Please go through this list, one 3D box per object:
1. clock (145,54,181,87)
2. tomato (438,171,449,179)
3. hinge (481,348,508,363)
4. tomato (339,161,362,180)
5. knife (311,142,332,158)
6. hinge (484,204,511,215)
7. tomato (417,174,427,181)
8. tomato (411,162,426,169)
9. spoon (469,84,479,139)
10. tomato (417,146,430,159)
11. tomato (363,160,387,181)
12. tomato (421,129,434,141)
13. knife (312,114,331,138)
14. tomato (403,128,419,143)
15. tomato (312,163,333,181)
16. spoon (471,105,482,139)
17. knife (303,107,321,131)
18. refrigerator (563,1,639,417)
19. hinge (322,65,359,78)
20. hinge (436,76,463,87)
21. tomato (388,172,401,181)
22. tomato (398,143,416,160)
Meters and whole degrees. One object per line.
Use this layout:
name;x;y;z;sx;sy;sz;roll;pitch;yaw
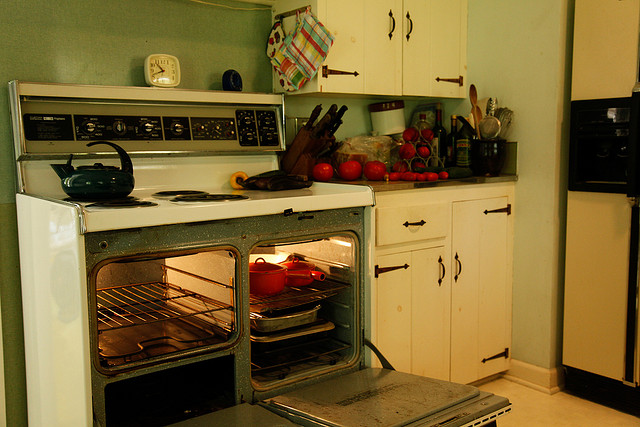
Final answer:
clock;-0.863;-0.774;2.764;0.208;0.176;0.073;-5;7;-41
tomato;0.790;-0.245;3.247;0.050;0.025;0.049;-9;12;-43
hinge;1.211;0.993;3.559;0.288;0.070;0.030;-9;-3;-28
tomato;0.187;-0.271;3.150;0.123;0.101;0.120;4;11;34
knife;0.006;-0.391;3.147;0.156;0.041;0.046;-39;43;5
hinge;1.243;-0.040;3.489;0.125;0.054;0.102;-2;4;-11
tomato;0.633;-0.223;3.157;0.044;0.038;0.043;6;13;28
tomato;0.663;-0.325;3.432;0.063;0.067;0.061;3;6;21
spoon;1.078;-0.719;3.554;0.068;0.356;0.052;-2;-2;-43
tomato;0.708;-0.417;3.508;0.080;0.089;0.080;-15;7;37
tomato;0.337;-0.266;3.148;0.132;0.118;0.123;2;6;5
tomato;0.755;-0.549;3.603;0.075;0.083;0.075;-20;30;15
knife;0.007;-0.511;2.956;0.184;0.068;0.049;-43;3;41
tomato;0.622;-0.538;3.488;0.106;0.056;0.100;-4;19;19
tomato;0.018;-0.248;3.032;0.110;0.092;0.104;2;10;15
spoon;1.089;-0.628;3.535;0.055;0.242;0.036;-1;3;-5
knife;-0.044;-0.548;2.954;0.181;0.044;0.054;-42;29;39
refrigerator;1.813;-0.041;3.200;0.550;2.563;0.408;5;14;33
hinge;0.122;-0.861;3.088;0.257;0.069;0.013;-9;14;-32
hinge;0.928;-0.915;3.554;0.135;0.033;0.086;-1;5;-16
tomato;0.476;-0.232;3.211;0.059;0.029;0.057;-3;16;-3
tomato;0.585;-0.422;3.463;0.104;0.113;0.105;10;25;20
